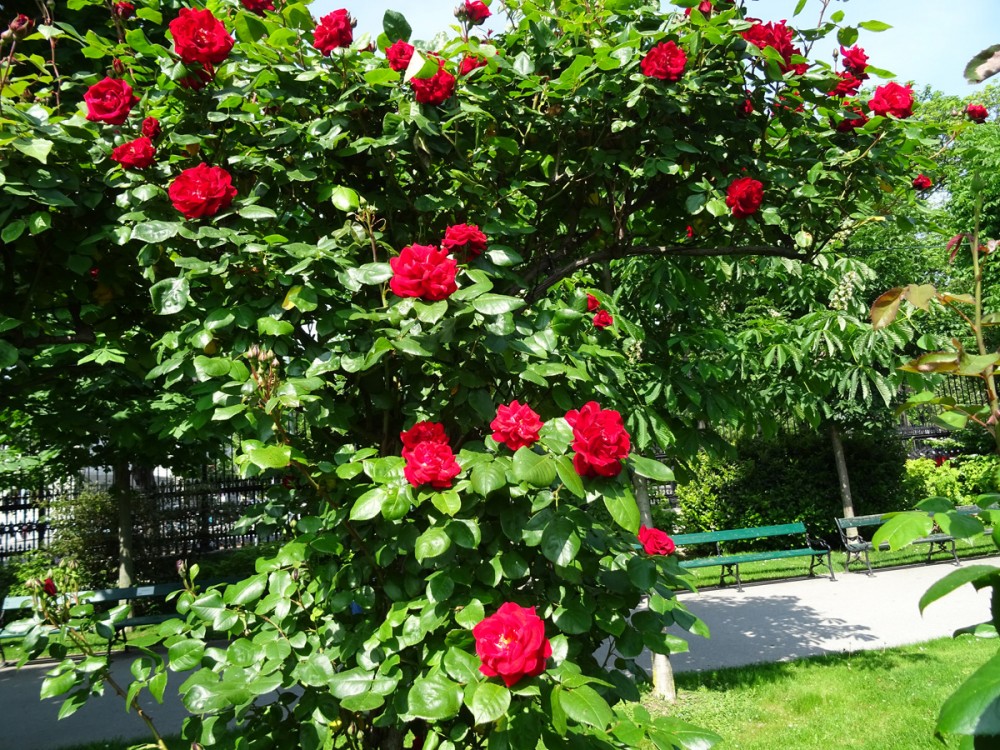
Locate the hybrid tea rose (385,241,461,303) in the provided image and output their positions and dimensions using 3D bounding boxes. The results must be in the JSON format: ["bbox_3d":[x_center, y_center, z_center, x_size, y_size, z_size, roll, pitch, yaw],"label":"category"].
[{"bbox_3d":[-0.237,-0.310,1.929,0.207,0.181,0.096,-14,-23,-14],"label":"hybrid tea rose"}]

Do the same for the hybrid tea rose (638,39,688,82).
[{"bbox_3d":[0.628,-1.214,2.420,0.163,0.132,0.058,-3,-3,2],"label":"hybrid tea rose"}]

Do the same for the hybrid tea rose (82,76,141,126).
[{"bbox_3d":[-1.431,-1.026,2.289,0.176,0.216,0.163,-3,-11,-18],"label":"hybrid tea rose"}]

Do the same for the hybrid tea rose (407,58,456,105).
[{"bbox_3d":[-0.235,-1.027,2.201,0.154,0.143,0.072,-38,17,9],"label":"hybrid tea rose"}]

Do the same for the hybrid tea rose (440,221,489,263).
[{"bbox_3d":[-0.118,-0.478,2.210,0.150,0.136,0.136,16,28,22],"label":"hybrid tea rose"}]

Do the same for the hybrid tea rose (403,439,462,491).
[{"bbox_3d":[-0.208,0.277,1.928,0.160,0.141,0.092,17,-17,-1],"label":"hybrid tea rose"}]

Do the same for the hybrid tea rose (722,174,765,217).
[{"bbox_3d":[1.025,-0.754,2.626,0.169,0.152,0.078,-2,12,2],"label":"hybrid tea rose"}]

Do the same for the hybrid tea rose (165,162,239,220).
[{"bbox_3d":[-1.034,-0.637,2.168,0.219,0.184,0.093,1,-4,-4],"label":"hybrid tea rose"}]

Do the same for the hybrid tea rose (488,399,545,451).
[{"bbox_3d":[0.056,0.155,1.939,0.152,0.156,0.264,-2,-10,-18],"label":"hybrid tea rose"}]

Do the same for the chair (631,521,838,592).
[{"bbox_3d":[3.439,2.828,9.490,3.044,0.795,0.679,-4,-5,-8],"label":"chair"}]

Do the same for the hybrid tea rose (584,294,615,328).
[{"bbox_3d":[0.428,-0.287,2.734,0.060,0.117,0.156,-32,36,-1],"label":"hybrid tea rose"}]

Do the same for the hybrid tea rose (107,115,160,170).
[{"bbox_3d":[-1.290,-0.839,2.284,0.116,0.200,0.149,34,-7,-34],"label":"hybrid tea rose"}]

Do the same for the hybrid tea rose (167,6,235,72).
[{"bbox_3d":[-1.045,-1.212,2.189,0.199,0.213,0.149,-2,-11,-22],"label":"hybrid tea rose"}]

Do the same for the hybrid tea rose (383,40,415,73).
[{"bbox_3d":[-0.367,-1.166,2.282,0.131,0.119,0.073,-13,-24,-5],"label":"hybrid tea rose"}]

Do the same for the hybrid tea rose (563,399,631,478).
[{"bbox_3d":[0.295,0.197,1.910,0.210,0.198,0.124,-20,-15,4],"label":"hybrid tea rose"}]
